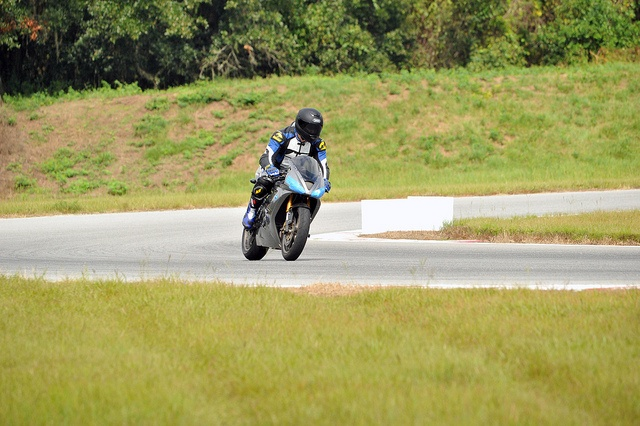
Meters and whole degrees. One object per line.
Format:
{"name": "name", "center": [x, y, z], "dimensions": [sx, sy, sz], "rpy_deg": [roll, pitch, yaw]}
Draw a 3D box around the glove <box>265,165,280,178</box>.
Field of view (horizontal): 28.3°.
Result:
{"name": "glove", "center": [-2.297, -1.872, 58.866], "dimensions": [0.653, 0.463, 0.419], "rpy_deg": [-3, 39, -5]}
